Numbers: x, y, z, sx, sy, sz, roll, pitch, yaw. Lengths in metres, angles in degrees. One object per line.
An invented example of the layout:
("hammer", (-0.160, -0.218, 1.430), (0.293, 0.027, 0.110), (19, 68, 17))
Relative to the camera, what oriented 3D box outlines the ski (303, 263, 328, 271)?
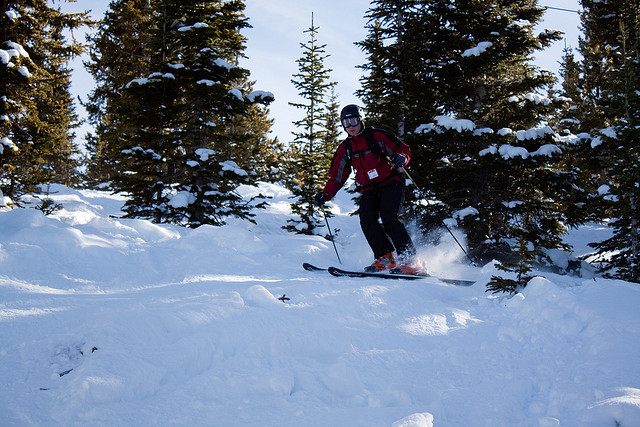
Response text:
("ski", (-0.171, 1.616, 25.566), (0.920, 0.167, 0.217), (11, -19, -38))
